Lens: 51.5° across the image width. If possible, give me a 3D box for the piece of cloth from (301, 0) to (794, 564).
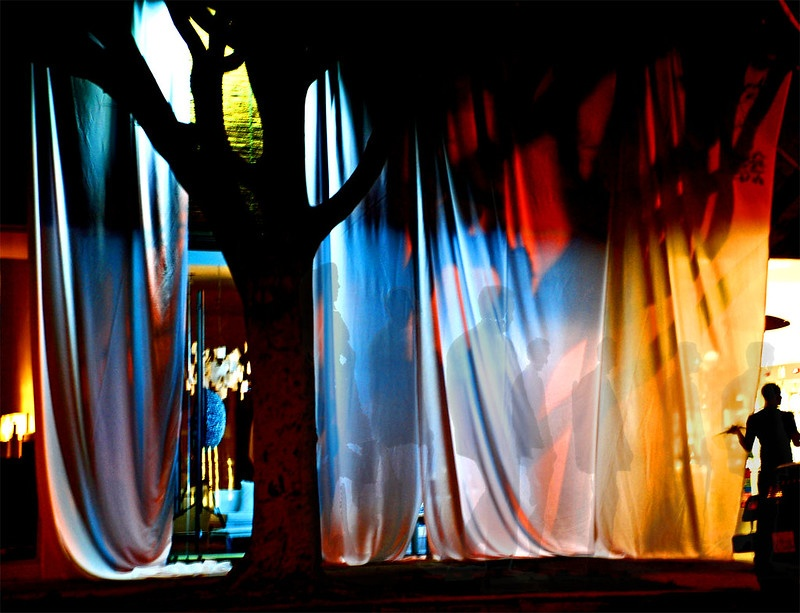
[{"bbox_3d":[0.944,-0.074,6.112,3.520,4.298,0.282,0,-4,0],"label":"piece of cloth"}]
